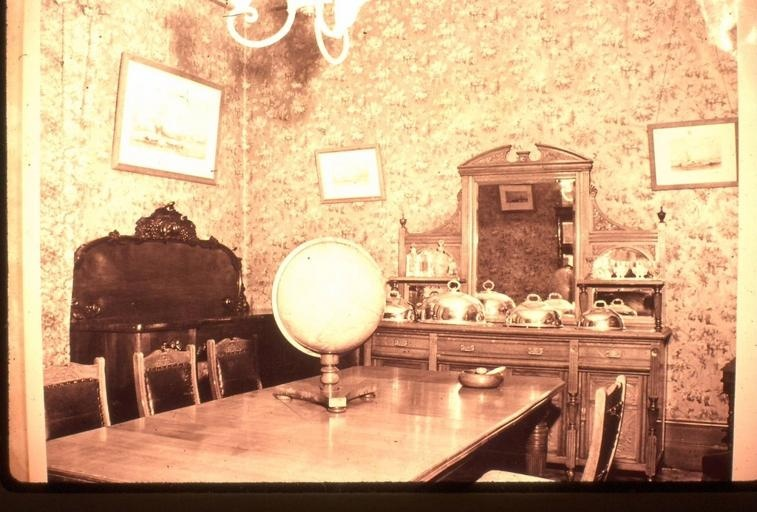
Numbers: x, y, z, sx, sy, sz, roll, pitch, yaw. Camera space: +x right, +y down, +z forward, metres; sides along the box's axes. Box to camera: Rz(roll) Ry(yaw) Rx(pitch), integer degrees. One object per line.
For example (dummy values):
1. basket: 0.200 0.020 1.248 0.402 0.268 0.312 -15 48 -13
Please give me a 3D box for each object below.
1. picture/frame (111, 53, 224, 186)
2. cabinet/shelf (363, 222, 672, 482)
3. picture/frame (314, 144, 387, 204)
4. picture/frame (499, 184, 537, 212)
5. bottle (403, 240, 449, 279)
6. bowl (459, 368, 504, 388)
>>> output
1. picture/frame: -1.894 -1.240 5.481 0.043 0.984 1.323 12 6 22
2. cabinet/shelf: 1.049 0.641 3.962 2.001 1.912 0.706 -1 -8 21
3. picture/frame: -0.248 -0.806 5.770 0.617 0.439 0.027 -2 2 24
4. picture/frame: 1.180 -0.494 4.989 0.240 0.220 0.024 -3 5 20
5. bottle: 0.431 0.031 5.277 0.331 0.262 0.332 0 -2 0
6. bowl: 0.533 0.626 3.111 0.160 0.065 0.137 -3 -7 22
